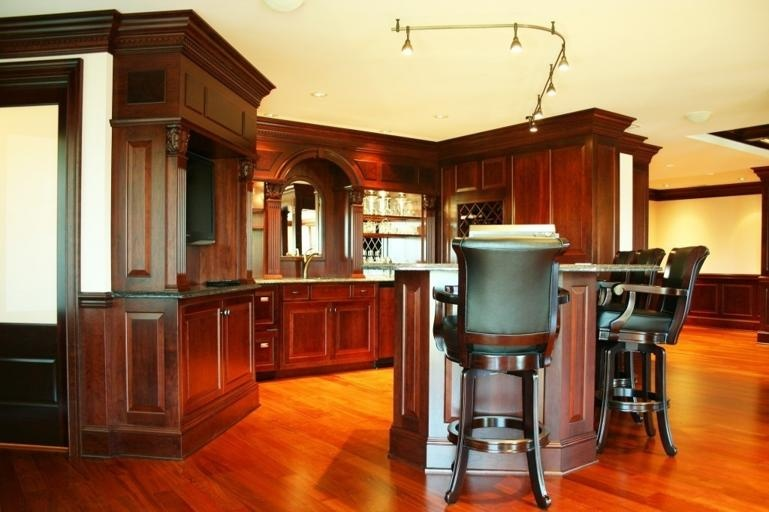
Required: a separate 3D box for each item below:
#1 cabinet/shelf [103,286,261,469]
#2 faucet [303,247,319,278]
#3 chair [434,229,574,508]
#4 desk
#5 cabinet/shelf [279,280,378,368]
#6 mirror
[{"bbox_3d":[-1.773,1.054,4.901,0.564,1.200,1.436,-2,-2,15],"label":"cabinet/shelf"},{"bbox_3d":[-1.025,0.098,7.917,0.186,0.353,0.404,1,5,9],"label":"faucet"},{"bbox_3d":[0.808,0.784,4.113,0.922,1.906,0.634,2,5,16],"label":"chair"},{"bbox_3d":[0.754,0.908,5.061,1.541,1.587,1.728,-2,-11,11],"label":"desk"},{"bbox_3d":[-0.750,0.842,7.141,1.157,0.941,0.427,1,-5,-26],"label":"cabinet/shelf"},{"bbox_3d":[-1.127,-0.489,7.999,0.575,1.070,0.297,-1,5,-10],"label":"mirror"}]
